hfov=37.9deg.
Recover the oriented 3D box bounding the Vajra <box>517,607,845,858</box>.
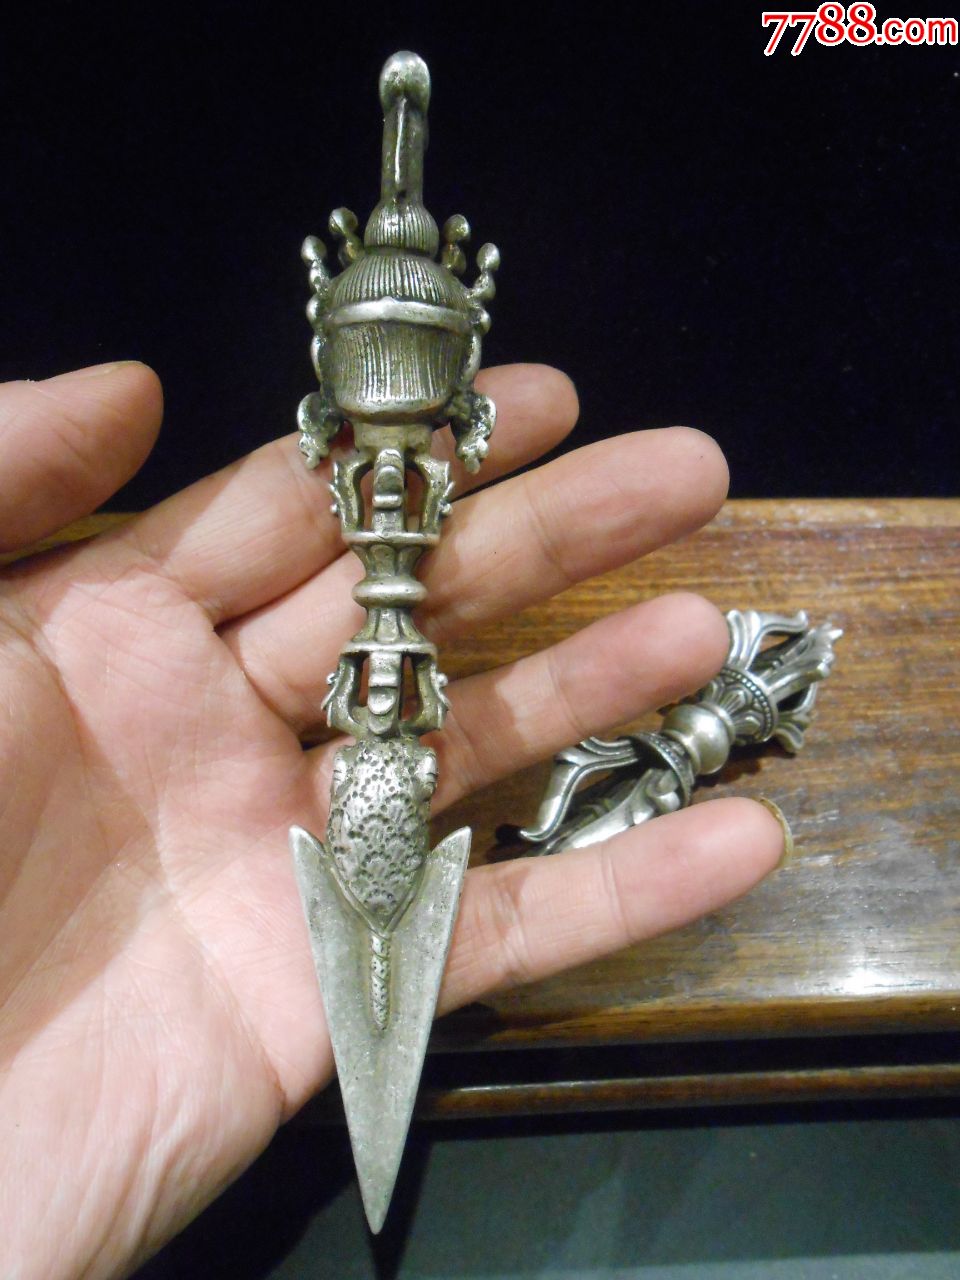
[{"bbox_3d":[0.257,0.099,1.696,0.523,0.164,0.181,-26,37,-26],"label":"Vajra"}]
